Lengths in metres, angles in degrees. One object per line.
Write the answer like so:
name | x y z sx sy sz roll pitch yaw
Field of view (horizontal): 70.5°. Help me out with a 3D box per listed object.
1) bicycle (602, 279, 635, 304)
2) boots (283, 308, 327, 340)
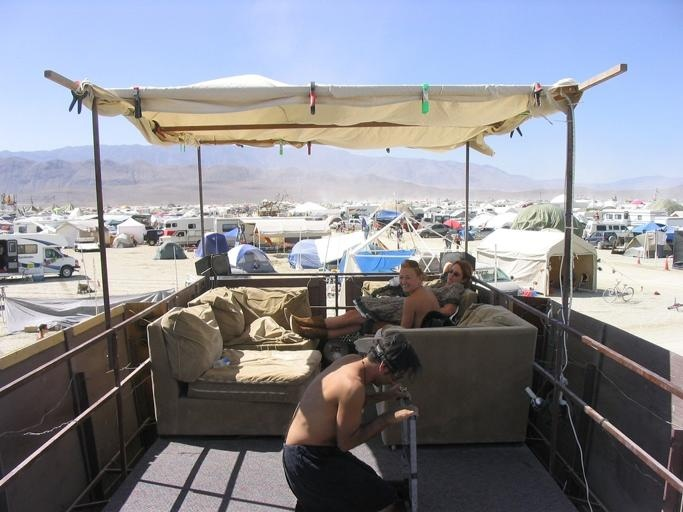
bicycle | 11.320 1.499 19.849 1.045 0.555 1.626 3 6 30
boots | -0.378 0.781 5.443 0.309 0.140 0.273 4 19 -2
